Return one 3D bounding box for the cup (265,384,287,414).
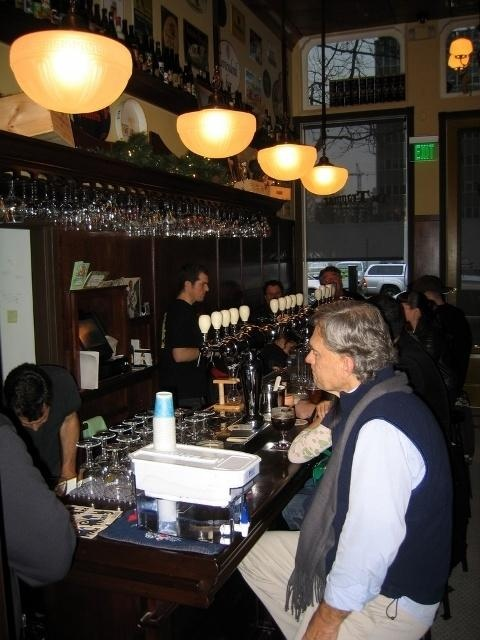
[{"bbox_3d":[0.171,0.400,2.520,0.121,0.145,0.127,2,0,0],"label":"cup"}]

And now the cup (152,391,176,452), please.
[{"bbox_3d":[-0.200,0.265,1.275,0.061,0.166,0.098,-6,5,-12],"label":"cup"}]
